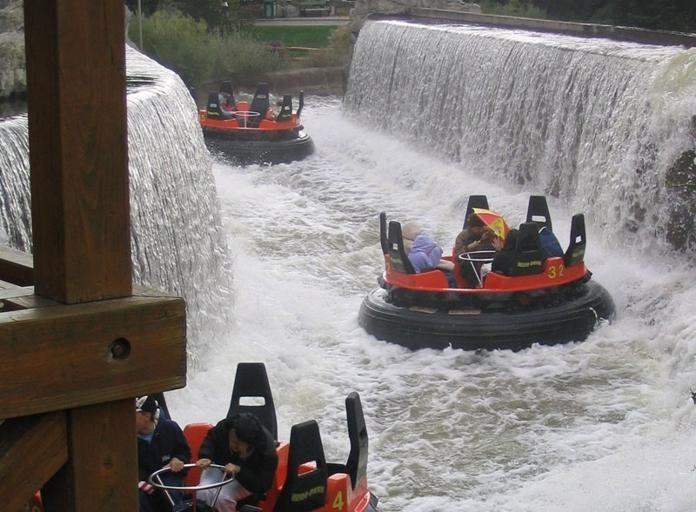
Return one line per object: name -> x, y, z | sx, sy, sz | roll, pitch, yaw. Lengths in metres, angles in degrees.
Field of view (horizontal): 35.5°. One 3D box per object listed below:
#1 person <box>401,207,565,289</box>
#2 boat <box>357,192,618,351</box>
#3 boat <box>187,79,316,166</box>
person -> 1.481, -0.049, 12.036 | 1.417, 0.646, 0.947 | -5, 20, 10
boat -> 1.681, 0.233, 12.474 | 1.936, 0.860, 1.826 | -1, 11, -2
boat -> -1.679, -2.301, 19.741 | 1.894, 0.905, 1.801 | 8, 21, 10
